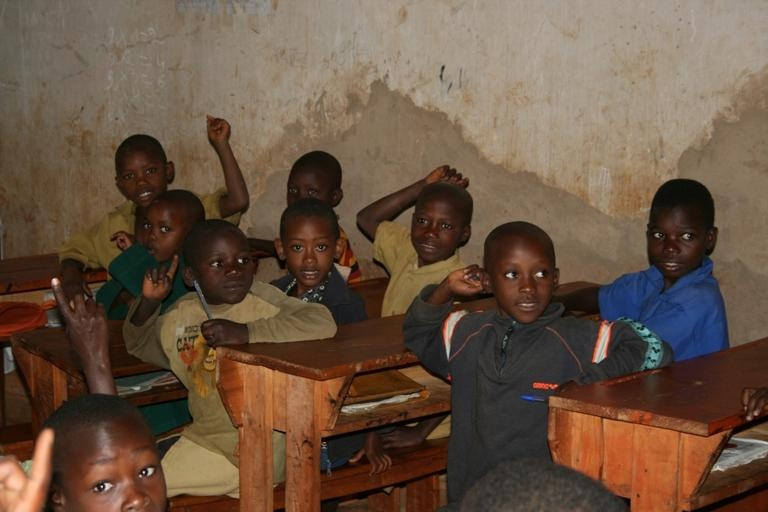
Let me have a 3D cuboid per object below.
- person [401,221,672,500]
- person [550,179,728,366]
[{"bbox_3d":[0.594,0.467,3.327,1.075,1.228,0.395,3,6,28],"label":"person"},{"bbox_3d":[1.444,0.170,4.200,0.792,1.099,0.822,-1,6,-38],"label":"person"}]
